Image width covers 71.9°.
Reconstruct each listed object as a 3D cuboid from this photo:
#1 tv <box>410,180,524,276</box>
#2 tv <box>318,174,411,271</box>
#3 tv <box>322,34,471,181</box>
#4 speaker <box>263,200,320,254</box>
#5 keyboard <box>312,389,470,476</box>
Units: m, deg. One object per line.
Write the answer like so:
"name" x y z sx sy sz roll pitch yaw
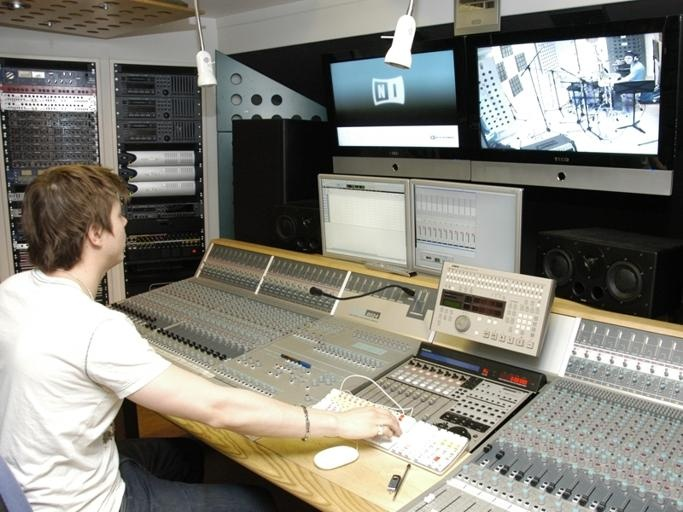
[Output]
"tv" 0.623 -0.142 2.320 0.496 0.356 0.053 12 23 40
"tv" 0.141 -0.195 2.691 0.580 0.405 0.059 7 20 38
"tv" 0.372 -0.920 2.950 1.150 0.796 0.152 11 26 36
"speaker" -0.304 -0.198 3.086 0.334 0.239 0.339 11 14 18
"keyboard" 0.199 0.566 1.589 0.495 0.198 0.083 25 -11 -15
